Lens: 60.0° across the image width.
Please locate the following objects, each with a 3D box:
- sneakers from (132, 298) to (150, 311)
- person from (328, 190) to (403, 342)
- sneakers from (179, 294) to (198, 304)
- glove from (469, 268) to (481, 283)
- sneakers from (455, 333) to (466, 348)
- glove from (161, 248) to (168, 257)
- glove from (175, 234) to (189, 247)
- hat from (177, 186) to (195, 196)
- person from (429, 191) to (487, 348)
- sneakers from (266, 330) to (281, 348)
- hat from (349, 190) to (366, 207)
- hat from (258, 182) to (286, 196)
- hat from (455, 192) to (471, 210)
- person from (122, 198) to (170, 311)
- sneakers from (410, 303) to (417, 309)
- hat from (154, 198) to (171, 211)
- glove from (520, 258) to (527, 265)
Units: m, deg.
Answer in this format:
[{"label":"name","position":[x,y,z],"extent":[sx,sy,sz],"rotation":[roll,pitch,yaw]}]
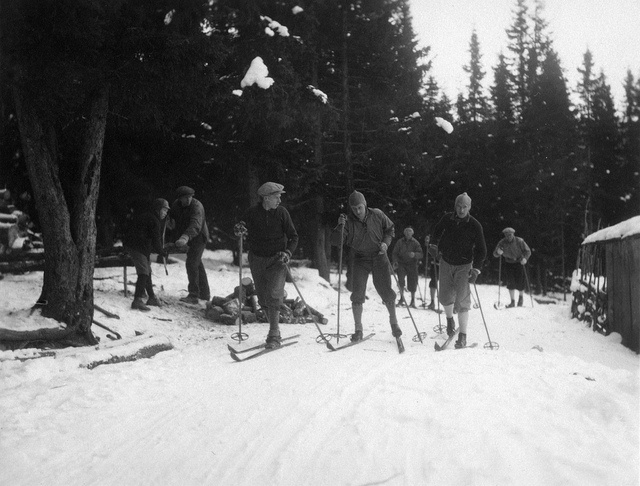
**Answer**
[{"label":"sneakers","position":[-3.174,1.102,9.901],"extent":[0.373,0.309,0.142],"rotation":[4,0,-17]},{"label":"person","position":[0.762,0.362,9.061],"extent":[1.032,2.067,0.666],"rotation":[0,0,-14]},{"label":"sneakers","position":[-2.609,1.127,11.000],"extent":[0.347,0.226,0.161],"rotation":[8,-5,-5]},{"label":"glove","position":[2.461,0.517,8.838],"extent":[0.159,0.221,0.426],"rotation":[-1,-1,15]},{"label":"sneakers","position":[2.206,1.531,8.719],"extent":[0.172,0.216,0.325],"rotation":[-1,-1,13]},{"label":"glove","position":[-2.841,0.167,10.085],"extent":[0.111,0.140,0.030],"rotation":[18,-3,2]},{"label":"glove","position":[-2.487,-0.046,9.918],"extent":[0.200,0.214,0.496],"rotation":[-1,-1,-9]},{"label":"hat","position":[-2.679,-1.000,10.765],"extent":[0.200,0.127,0.268],"rotation":[-5,0,-38]},{"label":"person","position":[2.238,0.418,8.925],"extent":[0.844,2.335,0.493],"rotation":[-1,0,31]},{"label":"sneakers","position":[-0.715,1.499,8.533],"extent":[0.211,0.285,0.174],"rotation":[-1,-8,6]},{"label":"hat","position":[0.596,-0.723,9.058],"extent":[0.249,0.221,0.312],"rotation":[-1,-1,2]},{"label":"hat","position":[-0.782,-0.830,8.566],"extent":[0.280,0.141,0.227],"rotation":[-10,5,-11]},{"label":"hat","position":[2.337,-0.734,9.043],"extent":[0.252,0.389,0.363],"rotation":[5,-10,17]},{"label":"person","position":[-3.199,0.169,10.238],"extent":[0.732,2.082,0.944],"rotation":[0,0,-19]},{"label":"sneakers","position":[2.285,1.512,13.586],"extent":[0.171,0.149,0.568],"rotation":[-1,-1,8]},{"label":"hat","position":[-3.017,-0.783,10.521],"extent":[0.194,0.259,0.286],"rotation":[2,-8,-13]},{"label":"glove","position":[5.089,0.448,13.859],"extent":[0.117,0.183,0.182],"rotation":[-3,-21,13]}]
